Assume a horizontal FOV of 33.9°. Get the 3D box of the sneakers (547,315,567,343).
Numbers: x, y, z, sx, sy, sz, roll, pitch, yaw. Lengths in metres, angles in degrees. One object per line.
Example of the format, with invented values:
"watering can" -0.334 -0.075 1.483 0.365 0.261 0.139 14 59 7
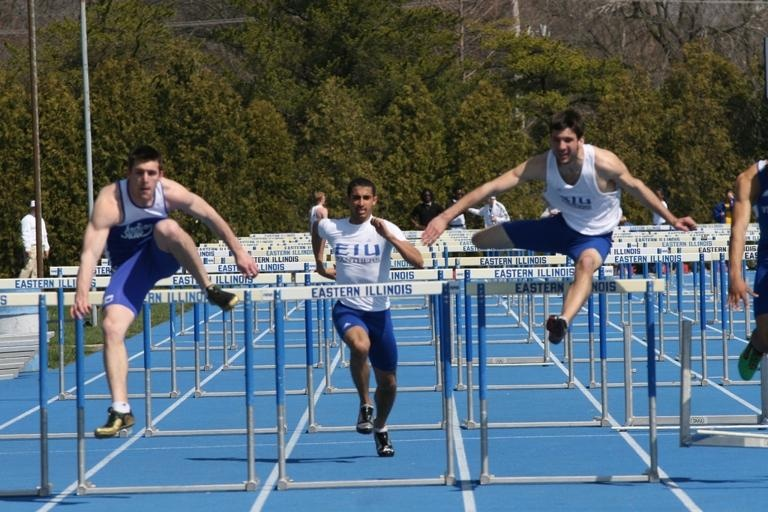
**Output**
"sneakers" 2.667 1.127 19.497 0.233 0.497 0.216 6 11 36
